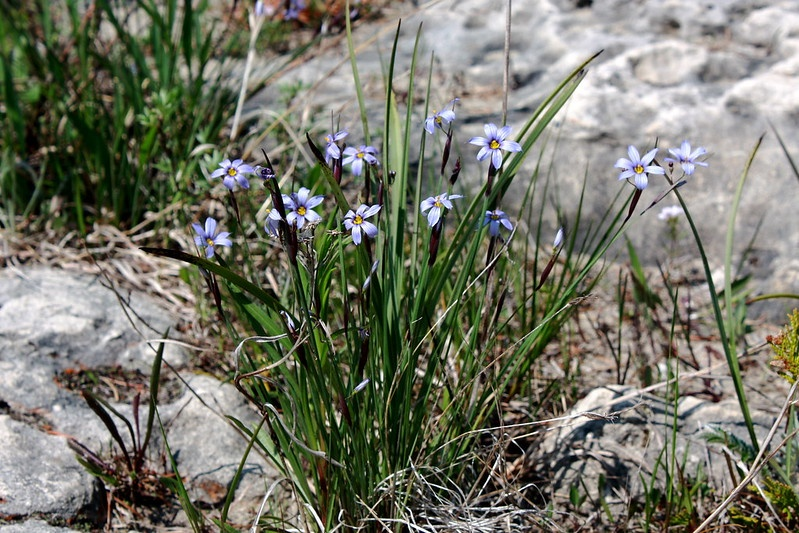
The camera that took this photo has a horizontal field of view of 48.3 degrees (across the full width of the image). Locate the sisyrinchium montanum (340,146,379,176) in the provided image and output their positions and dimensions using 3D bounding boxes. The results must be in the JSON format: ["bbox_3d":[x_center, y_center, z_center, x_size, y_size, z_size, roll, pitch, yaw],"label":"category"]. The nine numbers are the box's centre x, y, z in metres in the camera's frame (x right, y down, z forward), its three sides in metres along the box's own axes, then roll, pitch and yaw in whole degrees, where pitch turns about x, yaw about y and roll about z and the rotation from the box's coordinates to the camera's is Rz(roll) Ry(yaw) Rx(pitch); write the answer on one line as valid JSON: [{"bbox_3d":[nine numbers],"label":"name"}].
[{"bbox_3d":[-0.231,-0.510,4.644,0.170,0.052,0.183,24,51,25],"label":"sisyrinchium montanum"}]

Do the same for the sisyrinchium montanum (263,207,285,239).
[{"bbox_3d":[-0.626,-0.245,4.371,0.099,0.189,0.130,-4,48,-4],"label":"sisyrinchium montanum"}]

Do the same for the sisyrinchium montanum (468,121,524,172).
[{"bbox_3d":[0.475,-0.610,4.578,0.249,0.263,0.107,1,61,-26],"label":"sisyrinchium montanum"}]

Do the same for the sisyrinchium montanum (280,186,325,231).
[{"bbox_3d":[-0.485,-0.293,4.406,0.191,0.142,0.243,-12,33,-21],"label":"sisyrinchium montanum"}]

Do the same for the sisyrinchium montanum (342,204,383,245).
[{"bbox_3d":[-0.188,-0.209,4.479,0.178,0.214,0.195,-7,29,-14],"label":"sisyrinchium montanum"}]
